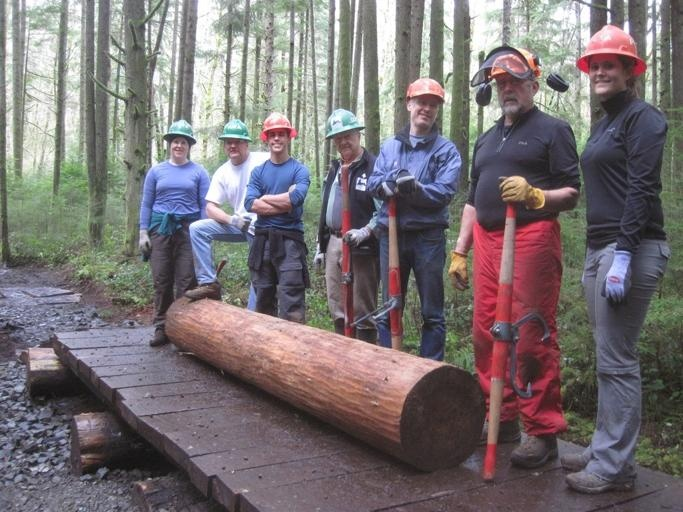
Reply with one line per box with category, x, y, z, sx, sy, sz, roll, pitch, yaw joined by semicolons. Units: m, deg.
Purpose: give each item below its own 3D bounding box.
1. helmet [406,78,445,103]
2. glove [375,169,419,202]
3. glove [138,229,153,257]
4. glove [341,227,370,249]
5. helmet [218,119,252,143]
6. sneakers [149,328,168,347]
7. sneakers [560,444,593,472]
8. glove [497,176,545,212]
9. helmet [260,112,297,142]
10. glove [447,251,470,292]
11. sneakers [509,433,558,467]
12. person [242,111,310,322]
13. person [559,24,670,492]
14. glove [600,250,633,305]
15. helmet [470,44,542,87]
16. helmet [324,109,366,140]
helmet;0.871;-1.718;6.176;0.338;0.260;0.570;3;10;12
glove;0.539;-0.655;5.740;0.273;0.138;0.282;-6;1;-22
glove;-2.503;-0.171;7.774;0.130;0.327;0.137;-3;11;-18
glove;0.147;-0.194;6.241;0.267;0.168;0.109;-28;-16;8
helmet;-1.304;-1.586;7.616;0.277;0.202;0.367;0;6;1
sneakers;-2.315;1.015;7.666;0.205;0.199;0.236;2;10;6
sneakers;1.874;1.594;4.743;0.302;0.152;0.118;4;-5;-15
glove;1.439;-0.508;4.782;0.394;0.245;0.182;-4;11;-25
helmet;-0.763;-1.621;7.237;0.325;0.257;0.393;-7;-3;2
glove;1.121;0.137;5.649;0.245;0.312;0.133;-29;-22;33
sneakers;1.535;1.562;4.853;0.418;0.223;0.179;10;-15;-42
person;-0.716;-0.424;7.132;0.685;2.516;1.027;-6;12;-35
person;2.077;-0.031;4.551;0.665;3.455;0.986;4;11;17
glove;2.052;0.141;4.515;0.192;0.396;0.216;6;11;27
helmet;1.415;-1.568;5.041;0.327;0.230;0.497;-9;-5;40
helmet;0.030;-1.494;6.766;0.377;0.326;0.413;0;10;-3
